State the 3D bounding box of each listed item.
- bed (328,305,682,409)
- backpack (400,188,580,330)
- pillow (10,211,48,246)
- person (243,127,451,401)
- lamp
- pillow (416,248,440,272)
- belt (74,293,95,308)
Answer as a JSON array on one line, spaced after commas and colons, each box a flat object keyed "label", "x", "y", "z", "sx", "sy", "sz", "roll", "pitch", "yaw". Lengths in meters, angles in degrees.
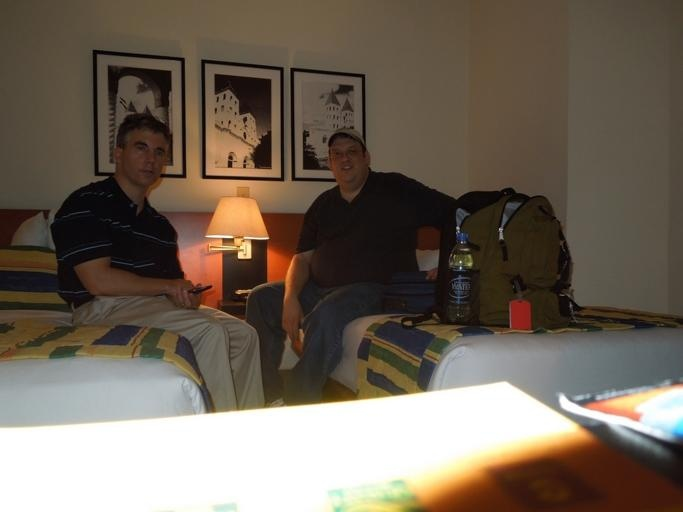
[{"label": "bed", "x": 0.524, "y": 0.426, "z": 1.957, "sx": 1.072, "sy": 0.435, "sz": 0.697, "roll": 0, "pitch": 7, "yaw": -6}, {"label": "backpack", "x": 0.552, "y": 0.031, "z": 2.164, "sx": 0.569, "sy": 0.619, "sz": 0.461, "roll": -1, "pitch": -6, "yaw": -4}, {"label": "pillow", "x": -1.591, "y": -0.135, "z": 2.665, "sx": 0.153, "sy": 0.166, "sz": 0.086, "roll": -1, "pitch": -23, "yaw": 16}, {"label": "person", "x": 0.072, "y": 0.114, "z": 2.593, "sx": 0.968, "sy": 1.472, "sz": 0.805, "roll": 7, "pitch": -14, "yaw": 0}, {"label": "lamp", "x": -0.565, "y": -0.158, "z": 2.996, "sx": 0.291, "sy": 0.297, "sz": 0.306, "roll": 6, "pitch": -3, "yaw": 20}, {"label": "pillow", "x": 0.459, "y": 0.014, "z": 2.830, "sx": 0.121, "sy": 0.113, "sz": 0.046, "roll": -3, "pitch": -19, "yaw": -1}, {"label": "belt", "x": -1.020, "y": 0.166, "z": 2.078, "sx": 0.082, "sy": 0.068, "sz": 0.061, "roll": -8, "pitch": 2, "yaw": -30}]
